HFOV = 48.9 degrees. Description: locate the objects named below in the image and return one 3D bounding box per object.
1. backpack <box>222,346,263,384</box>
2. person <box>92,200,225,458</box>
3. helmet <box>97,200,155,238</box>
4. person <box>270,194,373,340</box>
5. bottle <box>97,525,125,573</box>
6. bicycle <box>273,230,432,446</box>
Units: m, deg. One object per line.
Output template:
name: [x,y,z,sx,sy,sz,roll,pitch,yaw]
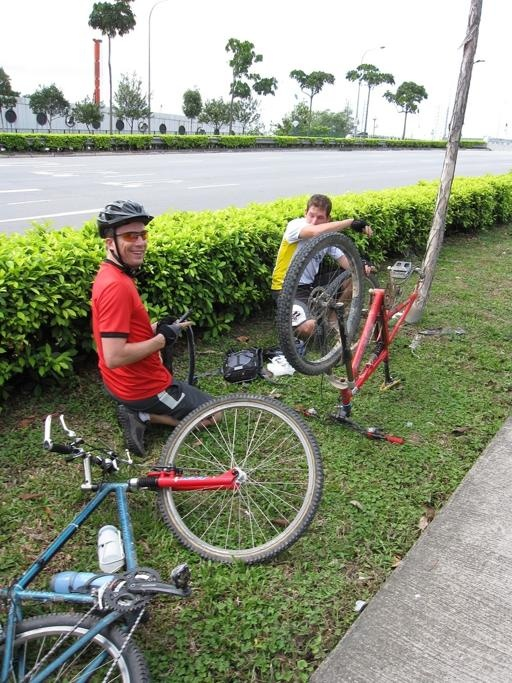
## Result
backpack: [-0.113,0.199,4.636,0.329,0.203,0.364,2,20,0]
person: [-0.616,-0.048,3.315,0.831,1.446,0.676,-3,15,-9]
helmet: [-0.714,-0.653,3.063,0.284,0.210,0.247,-2,20,-11]
person: [0.531,-0.609,4.489,0.978,1.011,0.746,6,21,21]
bottle: [-0.624,0.899,2.463,0.122,0.080,0.195,-1,39,-16]
bicycle: [0.634,-0.194,3.822,0.924,1.015,1.811,6,17,27]
